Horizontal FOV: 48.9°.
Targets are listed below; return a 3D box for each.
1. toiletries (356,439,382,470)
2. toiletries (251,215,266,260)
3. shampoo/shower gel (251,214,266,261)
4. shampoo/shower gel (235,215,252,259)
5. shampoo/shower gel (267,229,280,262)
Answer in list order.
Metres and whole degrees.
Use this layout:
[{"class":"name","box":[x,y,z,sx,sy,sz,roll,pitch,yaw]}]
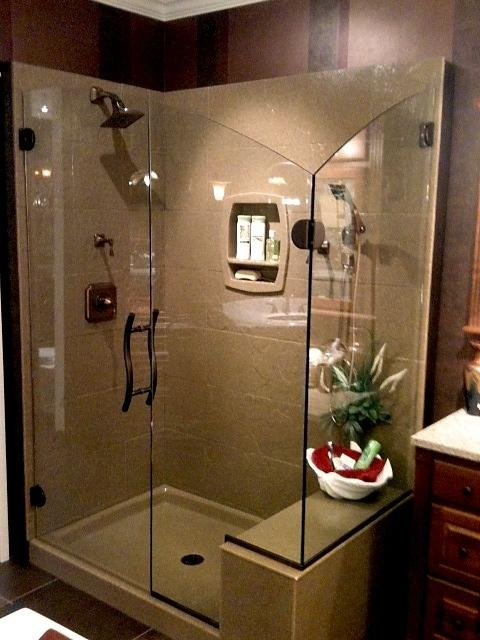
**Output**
[{"class":"toiletries","box":[0.371,0.391,1.540,0.030,0.107,0.028,36,-9,-14]},{"class":"toiletries","box":[0.045,-0.197,1.338,0.048,0.136,0.046,3,-26,-6]},{"class":"shampoo/shower gel","box":[0.046,-0.198,1.338,0.045,0.132,0.040,-1,-20,6]},{"class":"shampoo/shower gel","box":[0.009,-0.213,1.366,0.017,0.113,0.072,-5,9,-28]},{"class":"shampoo/shower gel","box":[0.078,-0.181,1.288,0.017,0.077,0.046,-7,11,-40]}]
